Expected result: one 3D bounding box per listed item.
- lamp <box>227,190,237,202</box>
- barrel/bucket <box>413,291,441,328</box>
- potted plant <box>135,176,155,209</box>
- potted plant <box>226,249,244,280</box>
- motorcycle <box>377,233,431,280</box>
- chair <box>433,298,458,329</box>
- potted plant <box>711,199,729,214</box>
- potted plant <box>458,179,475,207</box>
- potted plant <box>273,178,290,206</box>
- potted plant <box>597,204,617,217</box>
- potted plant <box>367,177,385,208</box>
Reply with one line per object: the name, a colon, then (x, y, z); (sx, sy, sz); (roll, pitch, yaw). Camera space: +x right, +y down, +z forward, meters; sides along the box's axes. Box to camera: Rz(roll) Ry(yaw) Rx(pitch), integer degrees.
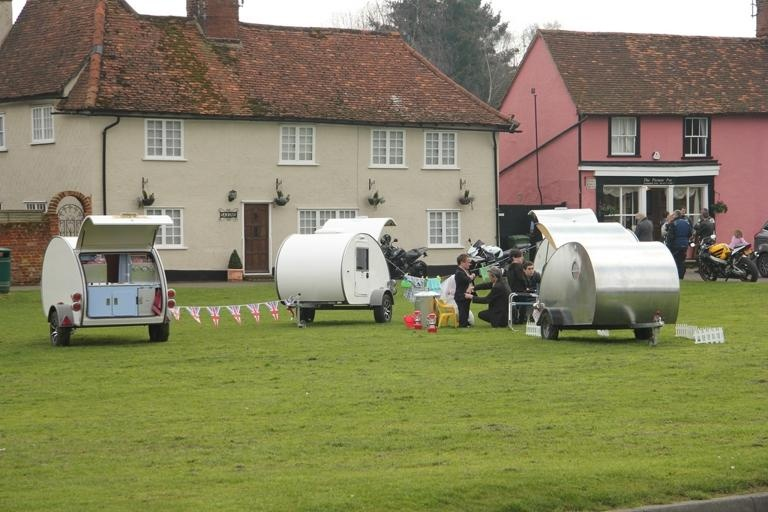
lamp: (-6.204, -2.416, 67.993); (0.342, 0.442, 0.168); (5, 8, -6)
barrel/bucket: (1.347, 1.634, 53.057); (1.022, 1.276, 0.967); (0, -3, 0)
potted plant: (-9.538, -2.520, 66.675); (0.677, 1.235, 0.447); (0, -2, -15)
potted plant: (-6.029, 0.424, 67.484); (0.625, 1.254, 0.677); (0, -2, -13)
motorcycle: (0.777, 0.089, 66.196); (1.737, 1.671, 4.099); (0, -2, 0)
chair: (1.937, 1.853, 53.010); (0.889, 1.113, 0.892); (-1, 0, 2)
potted plant: (14.590, -2.095, 72.520); (0.586, 0.476, 0.575); (5, 6, 23)
potted plant: (3.571, -2.697, 71.535); (0.744, 1.128, 0.361); (1, -2, -33)
potted plant: (-4.215, -2.600, 68.745); (0.757, 1.149, 0.442); (0, -2, -21)
potted plant: (9.583, -1.919, 72.031); (0.620, 0.415, 0.541); (0, -2, -5)
potted plant: (-0.356, -2.619, 70.161); (0.699, 1.231, 0.417); (0, -2, -2)
